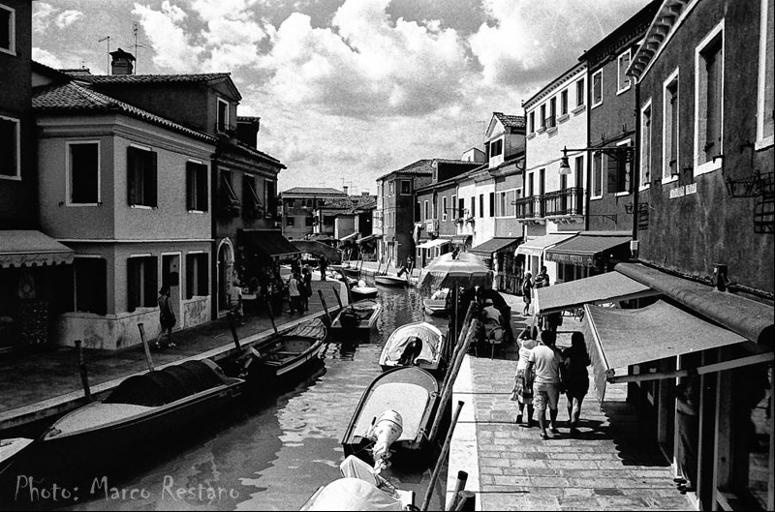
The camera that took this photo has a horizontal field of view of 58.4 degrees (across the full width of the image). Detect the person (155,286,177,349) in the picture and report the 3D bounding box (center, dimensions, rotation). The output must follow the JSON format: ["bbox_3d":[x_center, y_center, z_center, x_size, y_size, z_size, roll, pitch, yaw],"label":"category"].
[{"bbox_3d":[-7.823,2.088,24.538,0.677,2.045,1.253,-6,6,-20],"label":"person"}]

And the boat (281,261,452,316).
[{"bbox_3d":[-1.189,1.870,40.191,9.583,1.815,2.033,6,-3,-1],"label":"boat"}]

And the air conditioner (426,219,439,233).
[{"bbox_3d":[3.876,-2.528,58.080,0.860,1.169,1.607,1,-2,-12],"label":"air conditioner"}]

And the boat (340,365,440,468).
[{"bbox_3d":[0.341,4.293,18.309,1.972,1.183,4.251,1,14,12],"label":"boat"}]

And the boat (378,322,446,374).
[{"bbox_3d":[0.989,3.175,23.694,1.904,1.257,4.484,1,12,9],"label":"boat"}]
